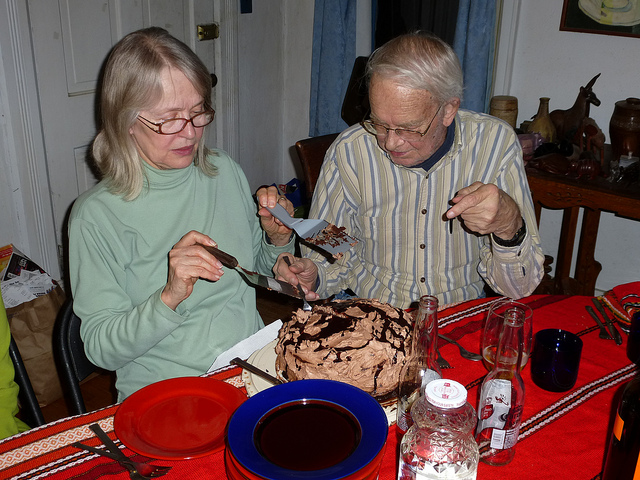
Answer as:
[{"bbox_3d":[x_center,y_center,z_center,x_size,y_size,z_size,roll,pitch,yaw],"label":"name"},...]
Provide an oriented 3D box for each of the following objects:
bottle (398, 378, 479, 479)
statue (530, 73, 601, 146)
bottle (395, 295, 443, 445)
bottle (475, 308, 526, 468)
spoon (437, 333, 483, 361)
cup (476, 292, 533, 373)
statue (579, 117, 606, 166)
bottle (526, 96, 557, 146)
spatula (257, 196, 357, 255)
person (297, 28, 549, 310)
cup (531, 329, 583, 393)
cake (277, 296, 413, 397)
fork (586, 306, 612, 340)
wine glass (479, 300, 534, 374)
[{"bbox_3d":[0.225,0.385,0.956,0.149,0.269,0.135,0,19,10],"label":"bottle"},{"bbox_3d":[1.431,-0.744,2.927,0.308,0.372,0.243,2,20,15],"label":"statue"},{"bbox_3d":[0.238,0.333,1.187,0.091,0.398,0.097,9,-14,2],"label":"bottle"},{"bbox_3d":[0.406,0.333,1.104,0.084,0.292,0.152,12,24,37],"label":"bottle"},{"bbox_3d":[0.393,0.301,1.405,0.023,0.022,0.171,-18,27,-22],"label":"spoon"},{"bbox_3d":[0.479,0.245,1.300,0.094,0.147,0.095,-2,33,1],"label":"cup"},{"bbox_3d":[1.605,-0.526,2.893,0.117,0.247,0.246,-2,3,35],"label":"statue"},{"bbox_3d":[1.345,-0.701,3.012,0.156,0.310,0.176,-3,14,6],"label":"bottle"},{"bbox_3d":[-0.055,-0.048,1.696,0.394,0.131,0.061,27,60,3],"label":"spatula"},{"bbox_3d":[0.341,-0.200,1.747,0.840,0.971,0.573,-5,19,-4],"label":"person"},{"bbox_3d":[0.613,0.304,1.344,0.127,0.152,0.139,-3,30,2],"label":"cup"},{"bbox_3d":[0.054,0.241,1.214,0.236,0.094,0.237,10,43,18],"label":"cake"},{"bbox_3d":[0.840,0.251,1.501,0.032,0.005,0.099,-17,33,13],"label":"fork"},{"bbox_3d":[0.471,0.249,1.258,0.097,0.151,0.099,-20,36,-26],"label":"wine glass"}]
